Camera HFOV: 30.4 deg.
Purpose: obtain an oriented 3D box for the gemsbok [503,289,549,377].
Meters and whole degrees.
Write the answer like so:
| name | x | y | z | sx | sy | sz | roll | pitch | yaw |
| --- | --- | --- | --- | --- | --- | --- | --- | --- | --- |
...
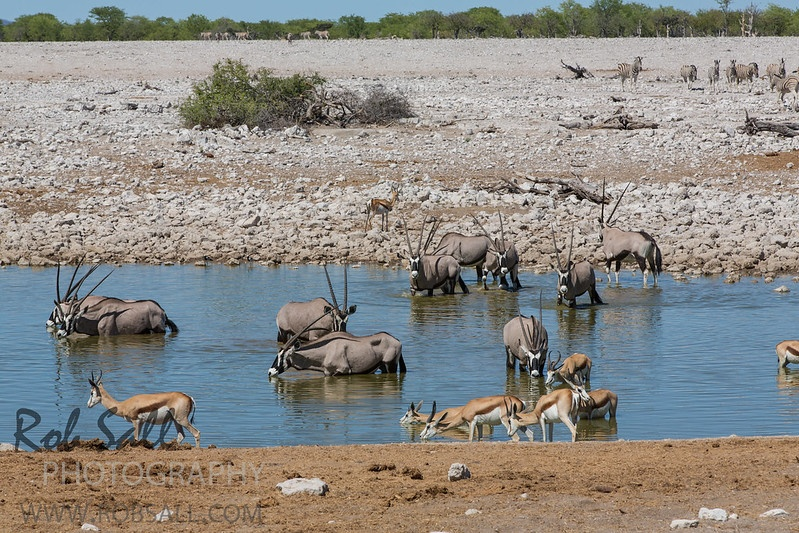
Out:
| name | x | y | z | sx | sy | sz | roll | pitch | yaw |
| --- | --- | --- | --- | --- | --- | --- | --- | --- | --- |
| gemsbok | 2.963 | 1.804 | 33.356 | 0.994 | 1.421 | 1.237 | -5 | 8 | -25 |

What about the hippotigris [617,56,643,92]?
| name | x | y | z | sx | sy | sz | roll | pitch | yaw |
| --- | --- | --- | --- | --- | --- | --- | --- | --- | --- |
| hippotigris | 9.381 | -7.859 | 59.866 | 0.502 | 1.250 | 1.833 | -8 | 9 | -18 |

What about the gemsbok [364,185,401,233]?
| name | x | y | z | sx | sy | sz | roll | pitch | yaw |
| --- | --- | --- | --- | --- | --- | --- | --- | --- | --- |
| gemsbok | -0.611 | -1.649 | 44.394 | 0.998 | 1.180 | 2.180 | -2 | 6 | 0 |

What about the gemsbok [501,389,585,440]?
| name | x | y | z | sx | sy | sz | roll | pitch | yaw |
| --- | --- | --- | --- | --- | --- | --- | --- | --- | --- |
| gemsbok | 3.049 | 3.181 | 30.612 | 1.495 | 1.110 | 0.786 | -1 | 7 | 5 |
